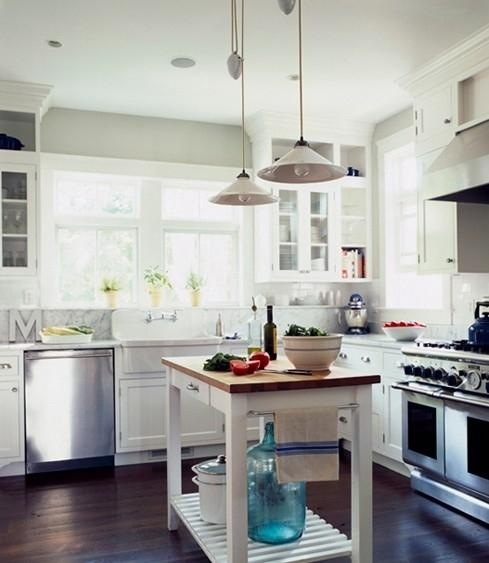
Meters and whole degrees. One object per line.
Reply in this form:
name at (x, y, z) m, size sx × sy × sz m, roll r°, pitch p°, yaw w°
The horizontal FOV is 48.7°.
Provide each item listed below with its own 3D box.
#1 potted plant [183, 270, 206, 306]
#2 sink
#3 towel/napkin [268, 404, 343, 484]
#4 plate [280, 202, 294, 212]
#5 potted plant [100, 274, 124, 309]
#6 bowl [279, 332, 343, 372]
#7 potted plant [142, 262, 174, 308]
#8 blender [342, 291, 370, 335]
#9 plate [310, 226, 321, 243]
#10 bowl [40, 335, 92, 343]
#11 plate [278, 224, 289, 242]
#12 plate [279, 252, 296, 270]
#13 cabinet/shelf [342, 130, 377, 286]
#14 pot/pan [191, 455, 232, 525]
potted plant at (-0.456, 0.062, 4.932) m, size 0.157 × 0.323 × 0.220 m, roll 0°, pitch -3°, yaw -4°
sink at (-0.646, 0.306, 4.385) m, size 0.873 × 0.558 × 0.470 m, roll 0°, pitch -3°, yaw -17°
towel/napkin at (0.235, 0.604, 2.014) m, size 0.268 × 0.263 × 0.114 m, roll 0°, pitch -3°, yaw -9°
plate at (0.372, -0.664, 4.814) m, size 0.096 × 0.095 × 0.031 m, roll 9°, pitch -1°, yaw -14°
potted plant at (-1.162, 0.101, 4.637) m, size 0.236 × 0.325 × 0.241 m, roll 0°, pitch 1°, yaw -18°
bowl at (0.275, 0.274, 2.284) m, size 0.248 × 0.147 × 0.242 m, roll 17°, pitch -16°, yaw 5°
potted plant at (-0.746, 0.036, 4.806) m, size 0.269 × 0.364 × 0.141 m, roll 1°, pitch -3°, yaw -36°
blender at (1.041, 0.287, 5.054) m, size 0.224 × 0.370 × 0.432 m, roll -1°, pitch -3°, yaw 12°
plate at (0.646, -0.439, 4.865) m, size 0.129 × 0.119 × 0.031 m, roll 4°, pitch -1°, yaw -7°
bowl at (-1.342, 0.429, 4.070) m, size 0.220 × 0.038 × 0.133 m, roll 0°, pitch -2°, yaw -21°
plate at (0.352, -0.447, 4.881) m, size 0.129 × 0.126 × 0.111 m, roll 0°, pitch 1°, yaw -10°
plate at (0.376, -0.186, 4.809) m, size 0.157 × 0.145 × 0.087 m, roll 1°, pitch -4°, yaw -15°
cabinet/shelf at (1.055, -0.715, 5.177) m, size 0.332 × 1.375 × 0.337 m, roll -1°, pitch -3°, yaw -1°
pot/pan at (-0.156, 0.988, 2.637) m, size 0.298 × 0.323 × 0.239 m, roll 1°, pitch -7°, yaw -6°
